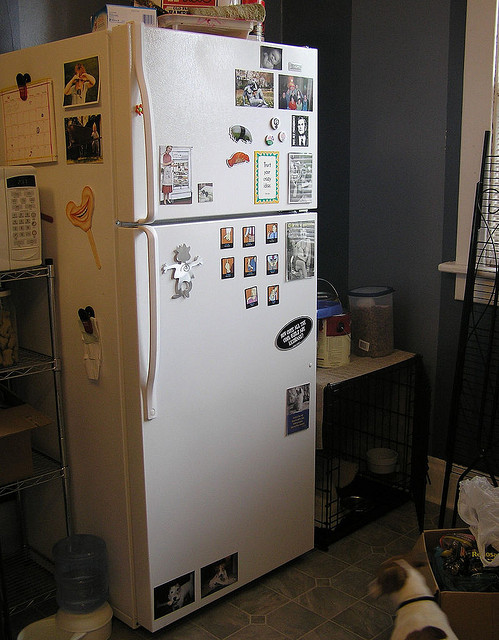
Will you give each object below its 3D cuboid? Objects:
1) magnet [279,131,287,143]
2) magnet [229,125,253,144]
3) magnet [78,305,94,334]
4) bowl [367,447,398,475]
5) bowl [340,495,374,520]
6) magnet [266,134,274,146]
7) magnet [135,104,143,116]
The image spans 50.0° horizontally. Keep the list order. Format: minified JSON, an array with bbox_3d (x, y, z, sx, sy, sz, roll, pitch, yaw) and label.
[{"bbox_3d":[0.103,-0.559,1.633,0.006,0.029,0.026,4,7,32],"label":"magnet"},{"bbox_3d":[-0.026,-0.518,1.509,0.014,0.049,0.053,2,9,42],"label":"magnet"},{"bbox_3d":[-0.464,-0.005,1.527,0.029,0.104,0.038,1,17,18],"label":"magnet"},{"bbox_3d":[0.611,0.654,2.489,0.131,0.083,0.154,9,13,35],"label":"bowl"},{"bbox_3d":[0.473,0.819,2.329,0.154,0.048,0.136,1,11,-6],"label":"bowl"},{"bbox_3d":[0.061,-0.539,1.600,0.004,0.032,0.024,20,42,27],"label":"magnet"},{"bbox_3d":[-0.261,-0.497,1.264,0.020,0.024,0.006,4,8,-23],"label":"magnet"}]
